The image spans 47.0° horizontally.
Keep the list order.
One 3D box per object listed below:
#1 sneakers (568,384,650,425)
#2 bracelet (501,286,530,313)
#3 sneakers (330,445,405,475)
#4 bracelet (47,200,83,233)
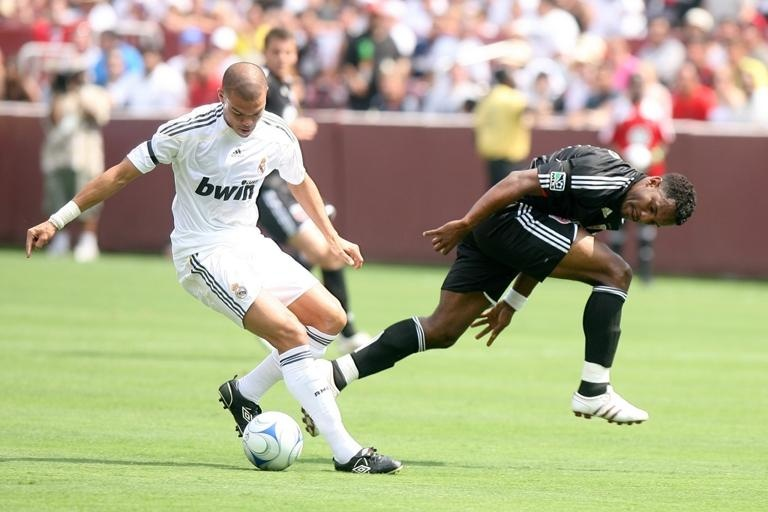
[{"bbox_3d":[1.553,1.031,6.282,0.628,0.281,0.232,4,4,8],"label":"sneakers"},{"bbox_3d":[1.000,0.350,6.763,0.177,0.130,0.174,40,3,-39],"label":"bracelet"},{"bbox_3d":[-0.094,1.338,5.783,0.443,0.176,0.168,0,-5,-1],"label":"sneakers"},{"bbox_3d":[-2.131,-0.274,5.873,0.158,0.250,0.108,50,-4,15],"label":"bracelet"}]
